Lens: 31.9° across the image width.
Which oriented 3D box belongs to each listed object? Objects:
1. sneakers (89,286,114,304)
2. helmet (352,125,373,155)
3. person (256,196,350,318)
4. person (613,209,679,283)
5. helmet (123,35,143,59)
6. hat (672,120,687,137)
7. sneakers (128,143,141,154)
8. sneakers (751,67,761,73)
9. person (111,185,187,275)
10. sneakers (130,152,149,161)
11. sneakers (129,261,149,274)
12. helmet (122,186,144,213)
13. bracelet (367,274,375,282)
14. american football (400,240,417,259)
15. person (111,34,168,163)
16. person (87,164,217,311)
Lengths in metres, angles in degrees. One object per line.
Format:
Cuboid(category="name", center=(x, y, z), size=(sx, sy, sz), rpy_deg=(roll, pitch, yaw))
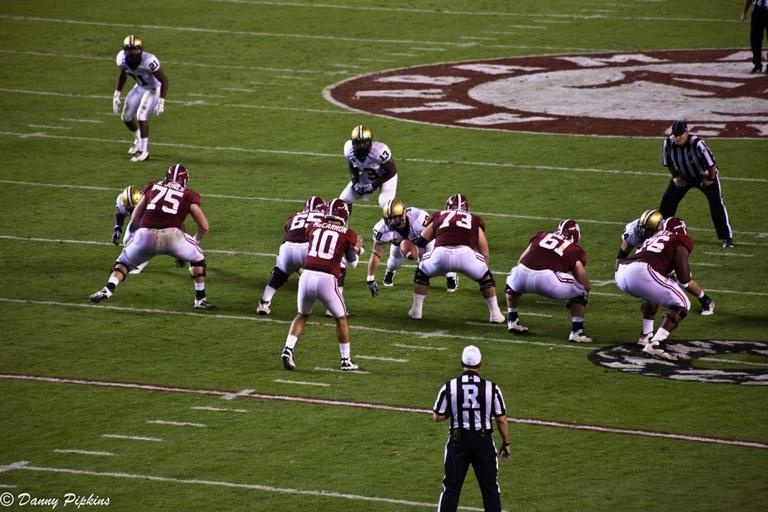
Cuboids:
Cuboid(category="sneakers", center=(-3.649, 0.506, 17.226), size=(0.223, 0.123, 0.386), rpy_deg=(-2, 1, -20))
Cuboid(category="helmet", center=(-0.323, -1.727, 19.091), size=(0.392, 0.328, 0.402), rpy_deg=(-1, 36, 3))
Cuboid(category="person", center=(-1.263, -0.062, 17.418), size=(0.797, 1.764, 0.596), rpy_deg=(26, -8, 20))
Cuboid(category="person", center=(3.369, -0.204, 17.172), size=(0.312, 0.756, 0.591), rpy_deg=(31, 2, -35))
Cuboid(category="helmet", center=(-4.290, -3.639, 23.165), size=(0.545, 0.427, 0.604), rpy_deg=(-1, 14, -7))
Cuboid(category="hat", center=(4.171, -1.819, 19.011), size=(0.194, 0.213, 0.220), rpy_deg=(6, 12, 8))
Cuboid(category="sneakers", center=(-4.321, -1.863, 23.186), size=(0.156, 0.103, 0.340), rpy_deg=(-24, 4, -4))
Cuboid(category="sneakers", center=(7.758, -3.908, 28.023), size=(0.296, 0.073, 0.168), rpy_deg=(1, -14, 12))
Cuboid(category="person", center=(-3.445, -0.506, 18.414), size=(1.096, 0.425, 1.430), rpy_deg=(3, 48, -3))
Cuboid(category="sneakers", center=(-4.150, -1.702, 22.804), size=(0.381, 0.096, 0.155), rpy_deg=(-8, -12, 31))
Cuboid(category="sneakers", center=(-3.332, 0.147, 18.114), size=(0.264, 0.067, 0.102), rpy_deg=(-24, 48, -26))
Cuboid(category="helmet", center=(-3.475, -0.812, 18.452), size=(0.394, 0.345, 0.401), rpy_deg=(-2, 19, -9))
Cuboid(category="bracelet", center=(-0.178, 0.290, 17.840), size=(0.105, 0.060, 0.090), rpy_deg=(-3, 10, -16))
Cuboid(category="american football", center=(0.274, -0.102, 17.735), size=(0.244, 0.192, 0.280), rpy_deg=(-13, 29, -35))
Cuboid(category="person", center=(-4.174, -2.738, 23.069), size=(0.775, 2.107, 1.191), rpy_deg=(1, 13, -20))
Cuboid(category="person", center=(-2.917, -0.265, 17.417), size=(1.407, 1.806, 0.852), rpy_deg=(3, 13, -10))
